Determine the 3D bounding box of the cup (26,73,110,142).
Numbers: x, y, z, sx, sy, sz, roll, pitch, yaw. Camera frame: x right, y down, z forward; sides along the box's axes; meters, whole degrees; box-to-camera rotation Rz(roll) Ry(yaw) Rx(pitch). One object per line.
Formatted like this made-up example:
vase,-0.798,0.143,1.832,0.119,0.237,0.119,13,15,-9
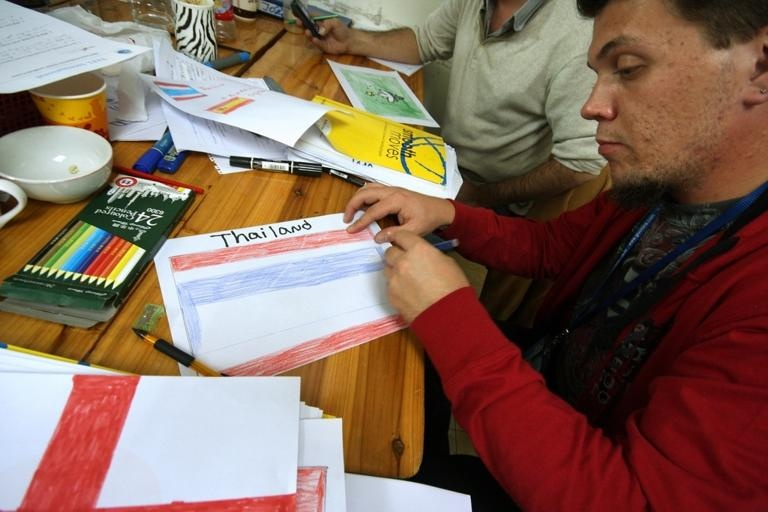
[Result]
cup,-0.604,-0.277,1.044,0.131,0.101,0.124,0,41,0

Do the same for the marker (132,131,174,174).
marker,-0.460,-0.200,1.054,0.032,0.025,0.114,5,34,15

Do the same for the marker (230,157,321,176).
marker,-0.243,-0.189,1.125,0.154,0.022,0.025,6,40,-10

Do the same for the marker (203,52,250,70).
marker,-0.411,-0.528,1.407,0.037,0.035,0.193,22,35,35

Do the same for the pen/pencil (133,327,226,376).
pen/pencil,-0.322,0.151,0.806,0.120,0.012,0.014,28,69,10
